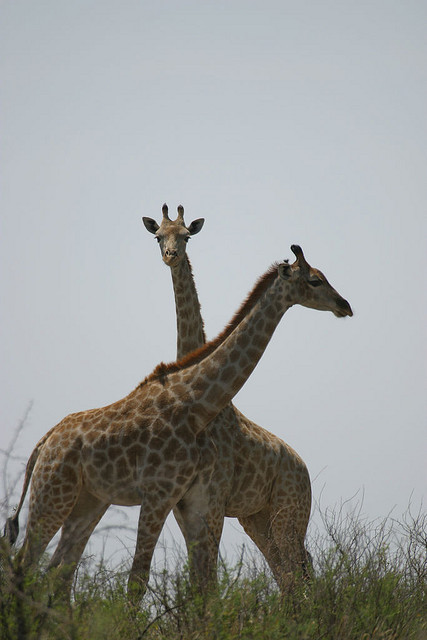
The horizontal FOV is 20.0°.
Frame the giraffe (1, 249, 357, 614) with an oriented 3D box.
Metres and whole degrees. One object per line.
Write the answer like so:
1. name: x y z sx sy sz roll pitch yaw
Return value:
1. giraffe: -0.418 1.258 10.554 2.359 3.419 1.792 3 -35 -10
